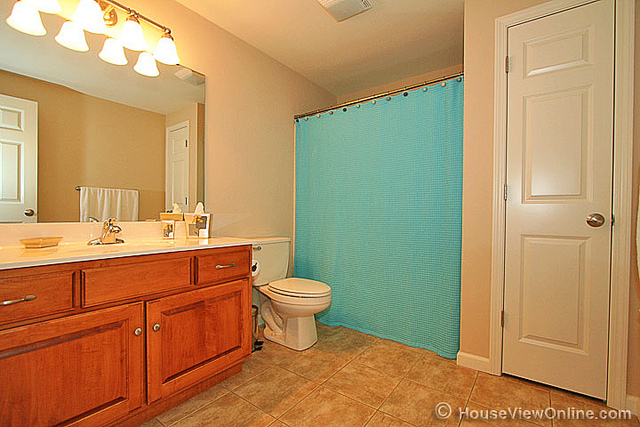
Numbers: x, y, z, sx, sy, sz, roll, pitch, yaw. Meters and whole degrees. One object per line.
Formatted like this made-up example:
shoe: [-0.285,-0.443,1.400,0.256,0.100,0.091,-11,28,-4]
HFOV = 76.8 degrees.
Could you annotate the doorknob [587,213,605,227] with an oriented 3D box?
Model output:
doorknob: [1.944,0.045,2.854,0.098,0.097,0.031,1,4,33]

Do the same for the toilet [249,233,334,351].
toilet: [-0.239,0.717,3.649,0.834,0.850,0.515,7,5,40]

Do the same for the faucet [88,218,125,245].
faucet: [-1.512,0.124,2.870,0.261,0.190,0.087,-2,13,-5]

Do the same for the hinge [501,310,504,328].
hinge: [1.389,0.802,3.082,0.020,0.125,0.007,-1,4,2]

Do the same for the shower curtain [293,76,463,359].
shower curtain: [0.500,0.006,3.702,1.669,2.162,0.183,-2,-1,37]
